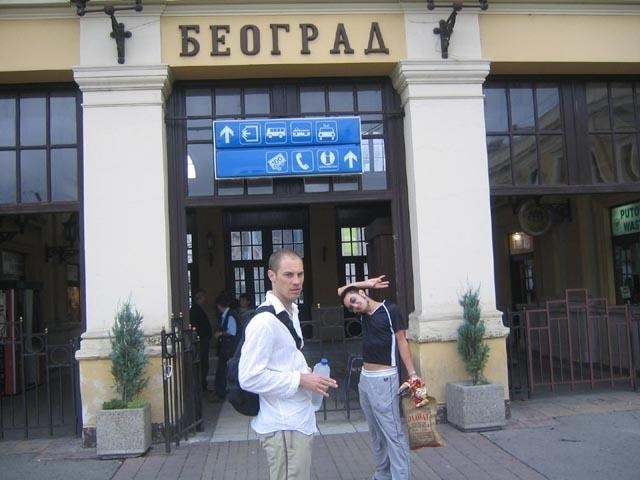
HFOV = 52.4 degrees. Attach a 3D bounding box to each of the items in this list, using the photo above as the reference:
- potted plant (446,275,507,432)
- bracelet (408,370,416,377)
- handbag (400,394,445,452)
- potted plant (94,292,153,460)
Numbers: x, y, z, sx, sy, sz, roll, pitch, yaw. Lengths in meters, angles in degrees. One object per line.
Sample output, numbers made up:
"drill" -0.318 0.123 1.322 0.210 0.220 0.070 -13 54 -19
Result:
"potted plant" 2.325 1.791 10.043 0.796 2.162 0.554 -3 -3 -6
"bracelet" 1.139 1.693 8.312 0.097 0.048 0.127 7 -9 -36
"handbag" 1.292 2.248 8.243 0.487 0.719 0.388 -7 15 -2
"potted plant" -2.871 2.051 9.700 0.740 2.319 0.809 0 -5 9
